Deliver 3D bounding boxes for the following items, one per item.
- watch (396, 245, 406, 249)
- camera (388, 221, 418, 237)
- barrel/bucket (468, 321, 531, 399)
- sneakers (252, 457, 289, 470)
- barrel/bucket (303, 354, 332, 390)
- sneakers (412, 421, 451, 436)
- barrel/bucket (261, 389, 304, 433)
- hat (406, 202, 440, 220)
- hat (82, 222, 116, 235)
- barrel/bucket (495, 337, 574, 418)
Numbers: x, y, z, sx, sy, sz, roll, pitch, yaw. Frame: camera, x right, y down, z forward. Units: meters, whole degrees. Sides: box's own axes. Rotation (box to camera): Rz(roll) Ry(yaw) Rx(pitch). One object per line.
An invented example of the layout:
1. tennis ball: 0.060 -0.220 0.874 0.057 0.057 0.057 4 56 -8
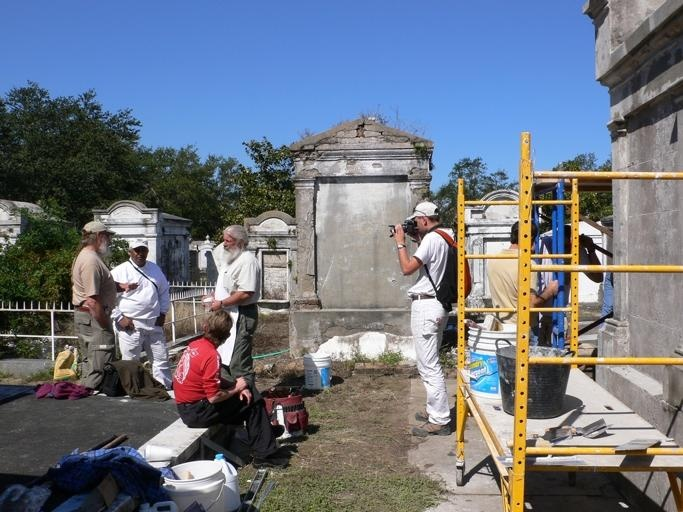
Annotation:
1. watch: 0.666 -0.094 8.206 0.073 0.046 0.075 1 -3 -16
2. camera: 0.719 -0.317 8.618 0.233 0.144 0.230 0 0 7
3. barrel/bucket: 1.364 0.967 6.786 0.537 0.610 0.540 1 -10 0
4. sneakers: -0.707 2.078 7.470 0.333 0.146 0.135 0 -2 -9
5. barrel/bucket: -0.309 1.538 9.943 0.411 0.419 0.411 -1 -3 0
6. sneakers: 0.967 1.899 8.258 0.432 0.210 0.165 3 -2 1
7. barrel/bucket: -0.600 1.728 8.354 0.347 0.254 0.468 -3 1 -4
8. hat: 0.921 -0.501 8.424 0.267 0.168 0.194 3 4 22
9. hat: -2.819 -0.316 8.816 0.212 0.133 0.333 5 0 42
10. barrel/bucket: 1.558 0.989 6.114 0.580 0.540 0.553 1 -8 0
